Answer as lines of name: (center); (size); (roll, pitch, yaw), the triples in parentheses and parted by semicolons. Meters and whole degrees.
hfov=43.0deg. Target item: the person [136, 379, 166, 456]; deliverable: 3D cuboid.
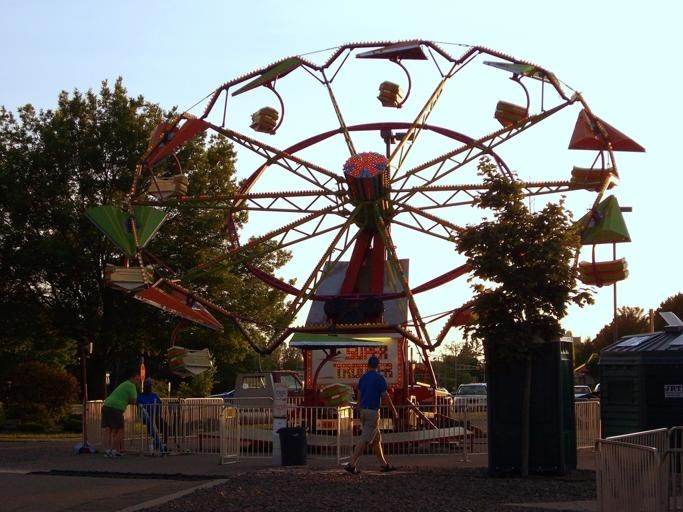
person: (-5.116, 4.345, 23.535); (0.832, 1.996, 1.034); (3, -14, -13)

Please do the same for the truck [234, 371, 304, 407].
truck: (-2.112, 4.040, 26.808); (2.348, 1.283, 1.604); (-1, -4, -15)

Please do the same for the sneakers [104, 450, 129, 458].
sneakers: (-5.876, 5.118, 22.554); (0.520, 0.210, 0.182); (1, -3, -9)

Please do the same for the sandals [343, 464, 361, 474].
sandals: (0.242, 4.472, 18.235); (0.296, 0.204, 0.368); (0, -13, 1)

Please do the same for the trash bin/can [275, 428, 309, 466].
trash bin/can: (-1.206, 4.429, 20.338); (0.780, 0.988, 0.885); (-9, -12, 35)

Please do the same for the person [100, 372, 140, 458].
person: (-5.869, 4.137, 23.009); (0.906, 2.267, 1.418); (3, -13, -13)

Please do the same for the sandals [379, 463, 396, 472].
sandals: (1.027, 4.565, 18.732); (0.362, 0.147, 0.141); (2, -1, -16)
